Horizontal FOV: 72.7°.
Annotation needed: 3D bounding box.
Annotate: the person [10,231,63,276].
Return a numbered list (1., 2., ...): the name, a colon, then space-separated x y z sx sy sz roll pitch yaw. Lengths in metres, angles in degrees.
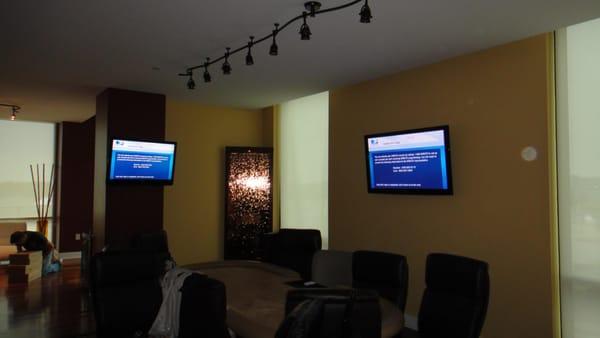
1. person: -6.152 1.926 9.501 0.983 1.065 0.904 -4 3 -21

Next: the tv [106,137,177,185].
1. tv: -3.119 -0.157 7.852 1.056 0.689 0.135 2 8 -25

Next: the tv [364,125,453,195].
1. tv: 1.906 -0.151 6.899 1.354 0.897 0.136 -3 1 30
